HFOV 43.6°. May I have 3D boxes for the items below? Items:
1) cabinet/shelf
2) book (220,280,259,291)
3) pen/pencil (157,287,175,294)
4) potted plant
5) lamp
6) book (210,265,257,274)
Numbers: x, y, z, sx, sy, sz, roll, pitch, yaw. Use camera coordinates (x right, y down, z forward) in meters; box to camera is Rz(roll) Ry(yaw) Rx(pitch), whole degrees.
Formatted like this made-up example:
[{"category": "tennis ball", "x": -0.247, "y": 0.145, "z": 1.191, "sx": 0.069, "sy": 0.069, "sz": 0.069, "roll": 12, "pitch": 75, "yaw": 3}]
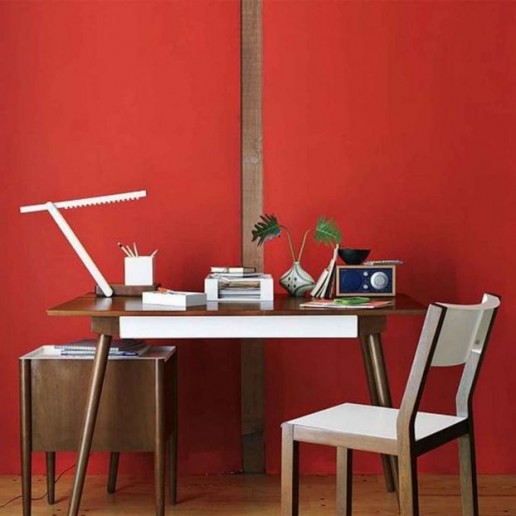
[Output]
[{"category": "cabinet/shelf", "x": -0.508, "y": 0.519, "z": 2.453, "sx": 0.738, "sy": 0.751, "sz": 0.542, "roll": 1, "pitch": -1, "yaw": 1}, {"category": "book", "x": -0.061, "y": 0.095, "z": 2.312, "sx": 0.139, "sy": 0.036, "sz": 0.018, "roll": -1, "pitch": 1, "yaw": 8}, {"category": "pen/pencil", "x": -0.325, "y": 0.111, "z": 2.334, "sx": 0.027, "sy": 0.022, "sz": 0.190, "roll": -1, "pitch": 0, "yaw": -19}, {"category": "potted plant", "x": 0.162, "y": -0.033, "z": 2.554, "sx": 0.351, "sy": 0.296, "sz": 0.147, "roll": 2, "pitch": 0, "yaw": -27}, {"category": "lamp", "x": -0.671, "y": -0.054, "z": 2.563, "sx": 0.474, "sy": 0.403, "sz": 0.319, "roll": -1, "pitch": 0, "yaw": -8}, {"category": "book", "x": -0.104, "y": 0.045, "z": 2.420, "sx": 0.168, "sy": 0.026, "sz": 0.109, "roll": -1, "pitch": -1, "yaw": 35}]
